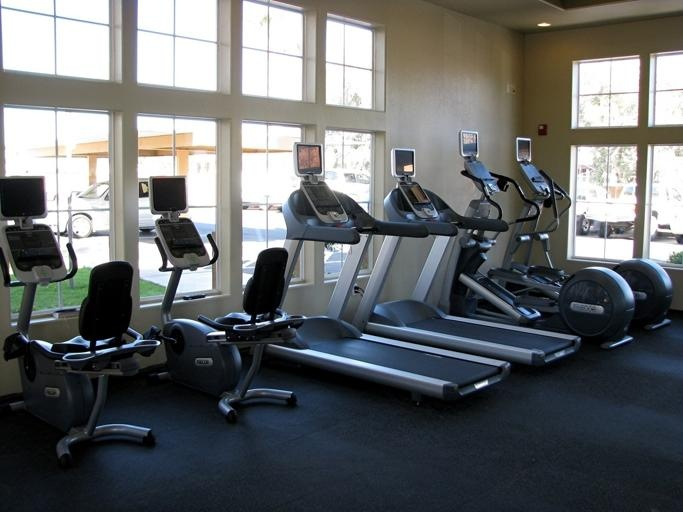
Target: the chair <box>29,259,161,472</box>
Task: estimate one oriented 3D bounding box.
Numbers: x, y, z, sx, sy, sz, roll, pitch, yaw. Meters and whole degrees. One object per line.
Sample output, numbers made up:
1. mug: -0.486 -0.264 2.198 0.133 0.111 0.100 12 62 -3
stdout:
1. chair: -1.664 0.684 3.593 0.688 1.342 0.505 -5 10 -31
